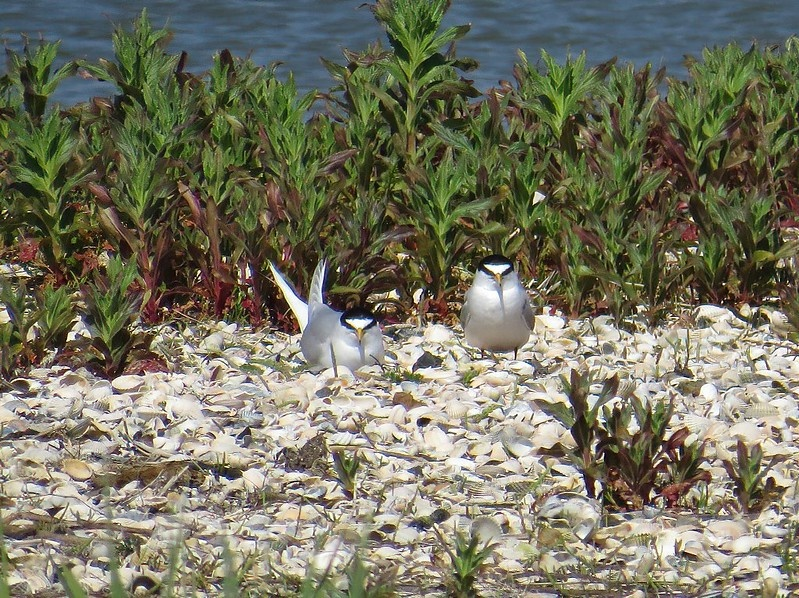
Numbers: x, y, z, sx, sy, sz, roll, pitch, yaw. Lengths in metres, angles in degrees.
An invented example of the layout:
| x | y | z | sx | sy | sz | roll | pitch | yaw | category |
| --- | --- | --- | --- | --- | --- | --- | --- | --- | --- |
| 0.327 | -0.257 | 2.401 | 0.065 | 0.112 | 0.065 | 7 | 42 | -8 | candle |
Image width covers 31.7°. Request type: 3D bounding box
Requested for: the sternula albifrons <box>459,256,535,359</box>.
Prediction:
| x | y | z | sx | sy | sz | roll | pitch | yaw | category |
| --- | --- | --- | --- | --- | --- | --- | --- | --- | --- |
| 0.468 | 0.033 | 6.694 | 0.391 | 0.486 | 0.560 | 3 | 4 | 7 | sternula albifrons |
